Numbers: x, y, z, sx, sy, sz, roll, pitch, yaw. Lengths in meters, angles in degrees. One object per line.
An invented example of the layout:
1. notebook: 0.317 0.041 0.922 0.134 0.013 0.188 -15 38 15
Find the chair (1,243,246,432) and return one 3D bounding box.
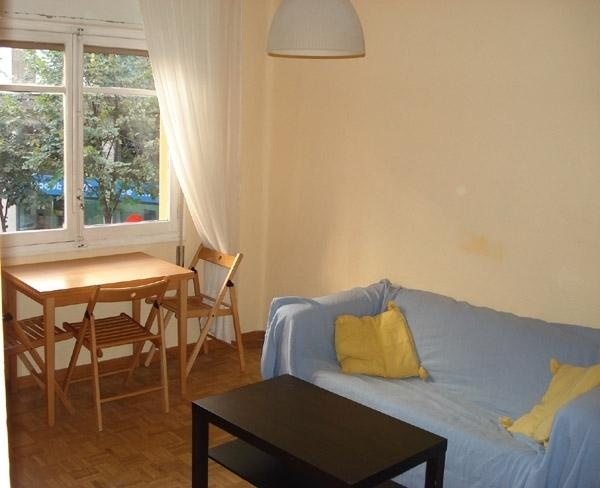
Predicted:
1. chair: -1.402 0.637 3.709 1.186 0.941 0.944 -4 12 -32
